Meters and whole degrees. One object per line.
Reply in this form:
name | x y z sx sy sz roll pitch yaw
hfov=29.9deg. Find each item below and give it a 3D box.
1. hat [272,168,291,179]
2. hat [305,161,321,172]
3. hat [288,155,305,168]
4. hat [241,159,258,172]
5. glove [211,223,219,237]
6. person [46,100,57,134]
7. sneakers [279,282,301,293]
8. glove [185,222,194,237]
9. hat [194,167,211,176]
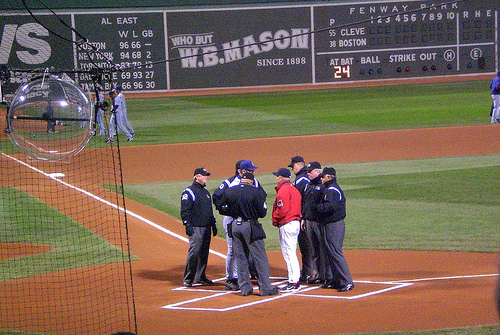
hat | 0.867 0.163 26.055 0.431 0.182 0.281 5 7 20
hat | 1.779 -0.035 26.287 0.414 0.185 0.263 2 1 -2
hat | 1.305 -0.185 26.637 0.503 0.227 0.312 -5 3 5
hat | -0.023 -0.049 26.129 0.442 0.198 0.292 -3 9 5
glove | -0.969 1.755 26.436 0.277 0.324 0.110 7 4 40
person | -5.008 -1.264 23.484 0.231 0.772 0.089 -4 8 -13
sneakers | 1.100 3.274 25.678 0.685 0.255 0.214 1 7 2
glove | -1.718 1.716 26.064 0.302 0.329 0.209 1 31 22
hat | -1.363 0.121 26.323 0.455 0.184 0.293 -4 -1 5
